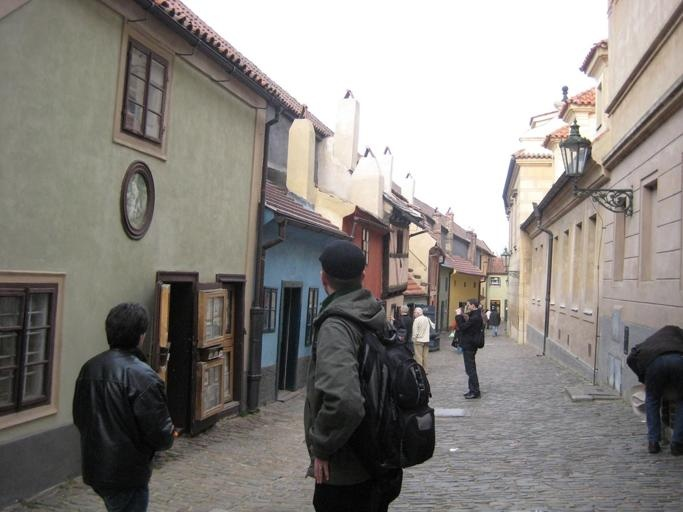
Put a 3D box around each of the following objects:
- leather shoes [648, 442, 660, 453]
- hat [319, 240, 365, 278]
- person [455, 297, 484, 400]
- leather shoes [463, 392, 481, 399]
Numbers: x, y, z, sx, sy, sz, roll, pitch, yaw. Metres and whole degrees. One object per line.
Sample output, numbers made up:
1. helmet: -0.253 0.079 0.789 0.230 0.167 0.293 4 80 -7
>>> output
1. leather shoes: 4.120 2.513 7.192 0.102 0.190 0.182 1 -2 20
2. hat: 0.046 0.031 3.906 0.344 0.280 0.493 0 13 1
3. person: 2.898 2.085 12.391 0.653 2.141 0.617 5 -8 -23
4. leather shoes: 2.897 3.076 12.077 0.375 0.197 0.143 4 0 21
